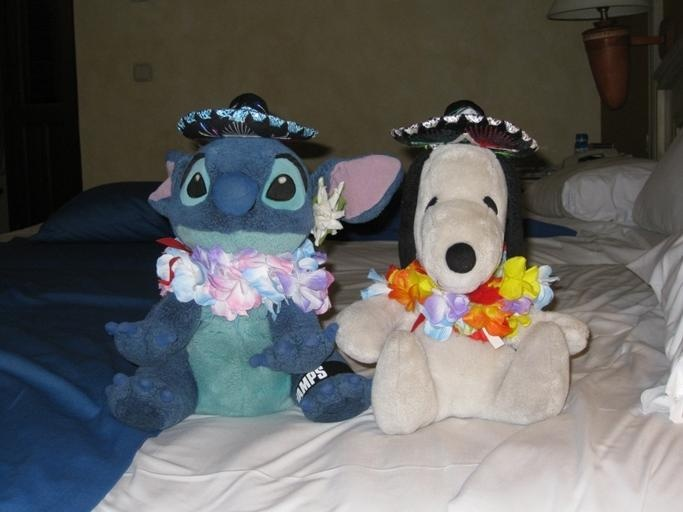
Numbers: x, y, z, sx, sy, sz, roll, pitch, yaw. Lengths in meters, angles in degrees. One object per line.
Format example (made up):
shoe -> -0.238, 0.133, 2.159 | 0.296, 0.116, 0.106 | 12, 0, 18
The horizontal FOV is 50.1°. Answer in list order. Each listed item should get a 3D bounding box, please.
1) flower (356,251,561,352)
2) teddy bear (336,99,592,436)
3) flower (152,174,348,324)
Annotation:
flower -> 0.247, 0.086, 1.437 | 0.271, 0.072, 0.234 | -2, 7, -21
teddy bear -> 0.237, 0.005, 1.460 | 0.503, 0.629, 0.303 | -2, 5, -1
flower -> -0.196, 0.044, 1.490 | 0.347, 0.165, 0.145 | -2, 5, -8
